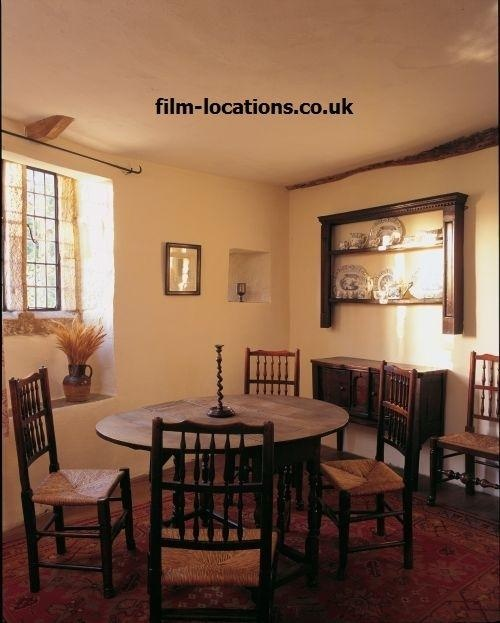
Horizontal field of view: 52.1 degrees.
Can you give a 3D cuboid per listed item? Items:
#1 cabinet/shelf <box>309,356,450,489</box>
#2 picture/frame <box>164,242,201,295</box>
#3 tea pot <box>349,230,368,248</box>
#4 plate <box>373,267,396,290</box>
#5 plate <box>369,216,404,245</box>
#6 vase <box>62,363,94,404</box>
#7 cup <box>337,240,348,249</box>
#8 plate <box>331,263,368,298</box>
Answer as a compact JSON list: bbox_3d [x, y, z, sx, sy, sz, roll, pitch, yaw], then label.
[{"bbox_3d":[0.908,0.770,3.823,0.368,0.799,0.968,0,1,-38],"label":"cabinet/shelf"},{"bbox_3d":[-0.523,-0.336,4.051,0.039,0.397,0.354,4,5,43],"label":"picture/frame"},{"bbox_3d":[0.875,-0.578,4.143,0.151,0.144,0.106,1,-2,5],"label":"tea pot"},{"bbox_3d":[1.050,-0.251,4.006,0.033,0.140,0.140,9,6,-32],"label":"plate"},{"bbox_3d":[1.059,-0.603,3.953,0.214,0.213,0.044,6,-7,43],"label":"plate"},{"bbox_3d":[-1.195,0.493,3.564,0.224,0.238,0.185,1,3,-26],"label":"vase"},{"bbox_3d":[0.775,-0.555,4.277,0.069,0.058,0.050,2,-4,-39],"label":"cup"},{"bbox_3d":[0.837,-0.253,4.251,0.049,0.262,0.284,0,4,-37],"label":"plate"}]
